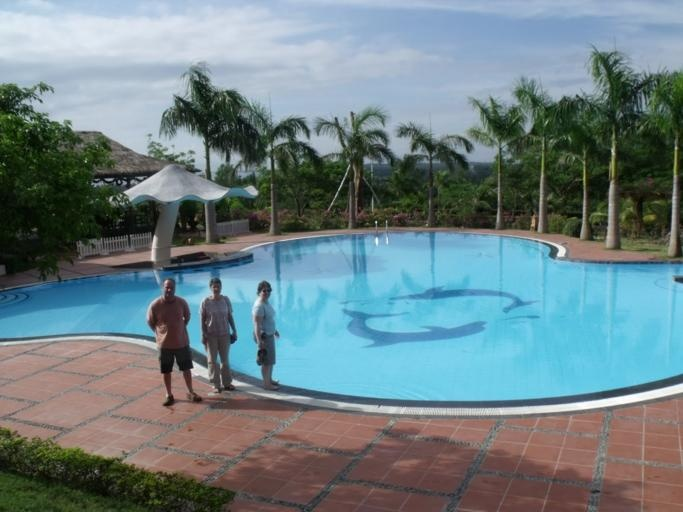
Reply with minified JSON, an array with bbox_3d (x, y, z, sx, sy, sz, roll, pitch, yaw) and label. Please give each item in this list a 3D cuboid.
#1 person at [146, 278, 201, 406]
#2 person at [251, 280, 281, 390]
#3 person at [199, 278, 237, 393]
[{"bbox_3d":[-2.459,1.247,8.279,0.700,1.794,0.432,-3,9,-12],"label":"person"},{"bbox_3d":[-1.197,1.282,9.030,0.359,1.917,1.353,-2,9,-8],"label":"person"},{"bbox_3d":[-1.868,1.200,8.645,0.502,1.725,0.393,-3,9,-15],"label":"person"}]
